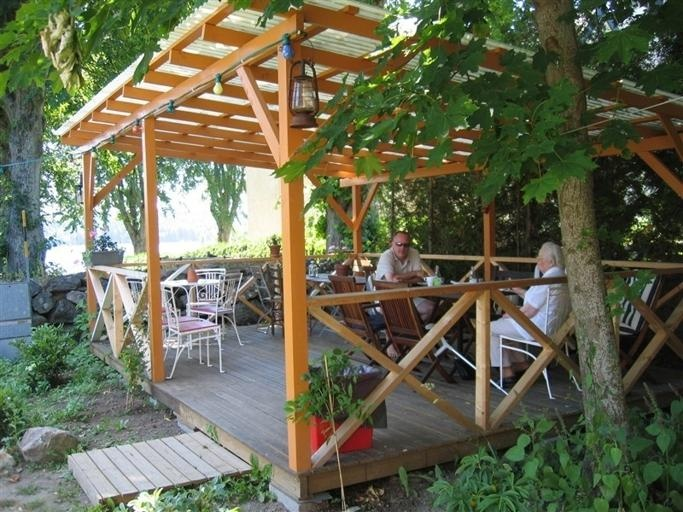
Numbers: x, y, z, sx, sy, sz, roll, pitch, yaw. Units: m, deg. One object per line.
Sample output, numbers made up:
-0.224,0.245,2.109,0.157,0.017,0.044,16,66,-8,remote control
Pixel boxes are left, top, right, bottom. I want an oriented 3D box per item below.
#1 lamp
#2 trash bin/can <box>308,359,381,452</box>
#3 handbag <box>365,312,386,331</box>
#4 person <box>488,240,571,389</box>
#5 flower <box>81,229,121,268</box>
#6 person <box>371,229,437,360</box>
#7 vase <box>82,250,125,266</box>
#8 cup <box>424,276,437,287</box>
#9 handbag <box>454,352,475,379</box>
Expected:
-0.265,-1.193,3.856,0.221,0.544,0.189,-2,6,1,lamp
0.023,1.167,4.319,0.528,0.564,0.643,1,-1,-20,trash bin/can
0.421,0.767,6.239,0.202,0.058,0.217,-7,14,-23,handbag
1.854,0.606,5.317,0.721,1.447,0.739,0,4,18,person
-3.749,-0.043,8.556,0.609,0.500,0.534,0,-4,7,flower
0.729,0.462,6.522,0.668,1.480,1.516,-1,4,3,person
-3.646,0.102,8.443,0.285,0.171,0.439,-5,-7,37,vase
0.990,0.287,5.952,0.113,0.185,0.177,0,0,-30,cup
1.337,1.218,5.838,0.184,0.093,0.247,22,17,-51,handbag
